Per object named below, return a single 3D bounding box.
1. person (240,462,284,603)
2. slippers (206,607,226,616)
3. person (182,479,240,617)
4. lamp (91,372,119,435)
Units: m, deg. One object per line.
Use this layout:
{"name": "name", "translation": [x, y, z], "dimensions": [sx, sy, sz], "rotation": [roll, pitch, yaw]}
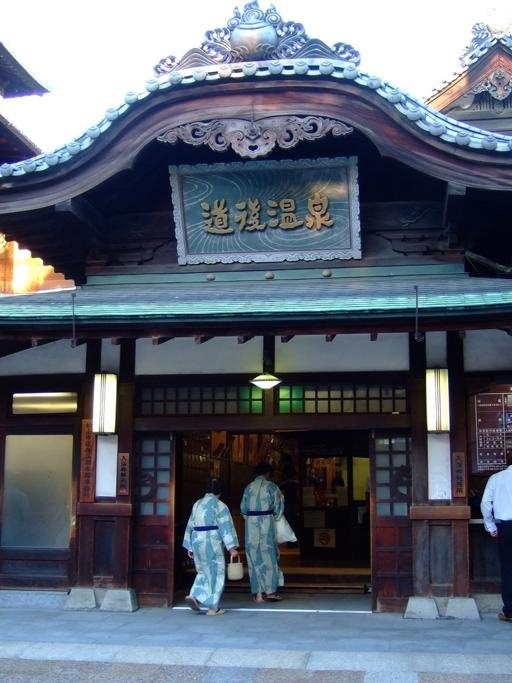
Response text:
{"name": "person", "translation": [0.120, 2.439, 9.092], "dimensions": [0.497, 1.722, 0.358], "rotation": [0, -11, -15]}
{"name": "slippers", "translation": [-0.436, 3.027, 7.966], "dimensions": [0.085, 0.056, 0.207], "rotation": [3, -2, 28]}
{"name": "person", "translation": [-0.508, 2.316, 7.968], "dimensions": [0.606, 1.477, 0.527], "rotation": [-2, -11, -5]}
{"name": "lamp", "translation": [-1.807, 0.746, 8.465], "dimensions": [0.162, 0.713, 0.244], "rotation": [-13, -15, 43]}
